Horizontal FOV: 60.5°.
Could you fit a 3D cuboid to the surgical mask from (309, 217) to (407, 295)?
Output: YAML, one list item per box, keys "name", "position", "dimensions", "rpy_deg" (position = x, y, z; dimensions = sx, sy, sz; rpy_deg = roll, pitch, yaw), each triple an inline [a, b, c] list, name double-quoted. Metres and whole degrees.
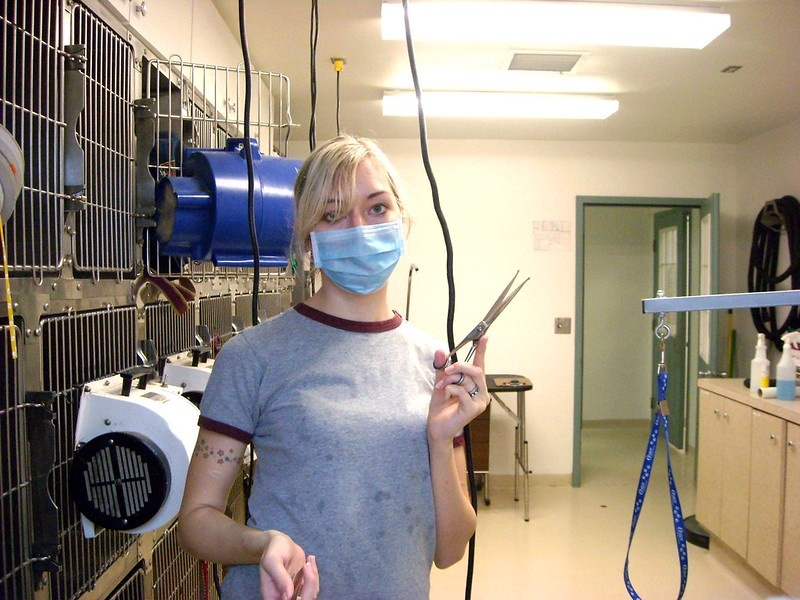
- name: "surgical mask"
  position: [-0.104, -0.119, 1.673]
  dimensions: [0.230, 0.165, 0.261]
  rpy_deg: [-7, 19, -13]

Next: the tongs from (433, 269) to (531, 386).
- name: "tongs"
  position: [0.482, 0.128, 3.814]
  dimensions: [0.157, 0.967, 0.101]
  rpy_deg: [43, 33, 24]

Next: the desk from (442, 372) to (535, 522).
- name: "desk"
  position: [0.728, 0.973, 4.963]
  dimensions: [0.640, 1.199, 0.855]
  rpy_deg: [-1, -5, 2]

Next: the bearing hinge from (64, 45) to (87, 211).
- name: "bearing hinge"
  position: [-0.822, -0.433, 1.734]
  dimensions: [0.061, 0.412, 0.062]
  rpy_deg: [-3, 5, -28]
